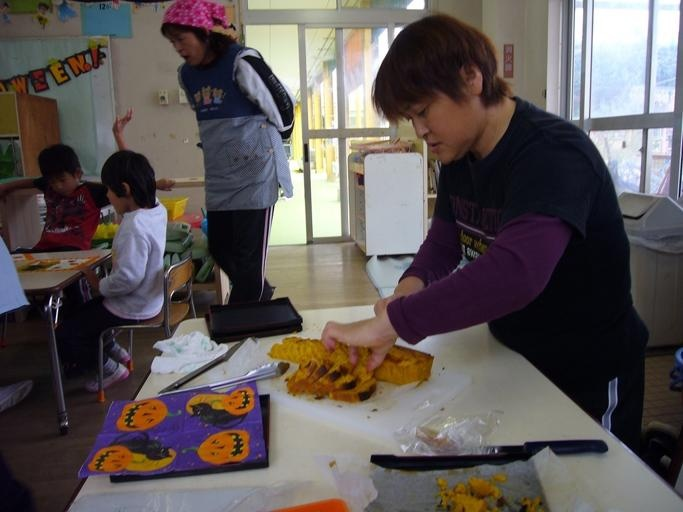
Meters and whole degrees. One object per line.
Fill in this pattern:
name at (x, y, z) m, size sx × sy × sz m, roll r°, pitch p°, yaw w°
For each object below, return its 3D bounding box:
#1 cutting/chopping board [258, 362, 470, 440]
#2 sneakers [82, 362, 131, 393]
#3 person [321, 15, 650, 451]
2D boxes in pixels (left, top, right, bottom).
cutting/chopping board at (0.062, 0.441, 1.264) m, size 0.452 × 0.553 × 0.041 m, roll 13°, pitch 60°, yaw 13°
sneakers at (-1.223, 0.614, 2.696) m, size 0.111 × 0.110 × 0.242 m, roll 0°, pitch 3°, yaw 22°
person at (0.308, -0.095, 1.849) m, size 0.962 × 1.778 × 0.762 m, roll -4°, pitch 4°, yaw -7°
